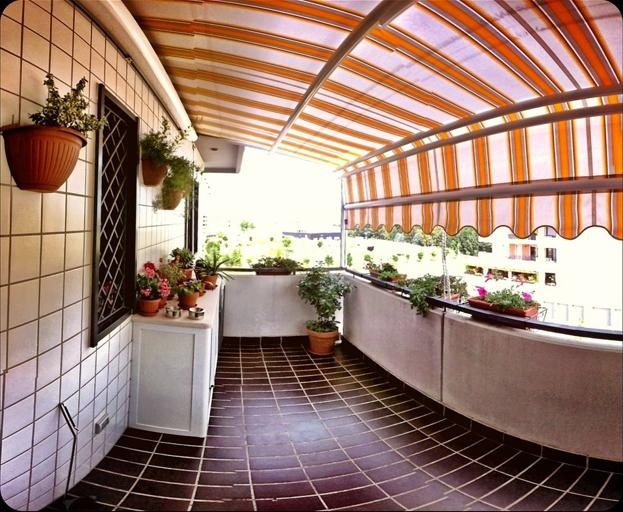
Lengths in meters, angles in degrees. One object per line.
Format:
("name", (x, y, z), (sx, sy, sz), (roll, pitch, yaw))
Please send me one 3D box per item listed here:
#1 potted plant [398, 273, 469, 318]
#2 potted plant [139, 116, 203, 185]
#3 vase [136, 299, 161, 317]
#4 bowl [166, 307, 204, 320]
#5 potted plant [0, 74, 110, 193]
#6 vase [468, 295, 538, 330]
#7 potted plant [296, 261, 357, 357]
("potted plant", (1.364, 0.370, 5.013), (0.536, 0.279, 0.498), (-13, 25, -7))
("potted plant", (-1.494, -1.107, 4.648), (0.520, 0.723, 1.143), (-1, 12, -14))
("vase", (-1.566, 0.489, 4.167), (0.201, 0.129, 0.188), (1, -2, -10))
("bowl", (-1.232, 0.551, 4.189), (0.334, 0.069, 0.149), (0, 0, -12))
("potted plant", (-1.675, -0.795, 2.781), (0.409, 0.780, 0.454), (2, 12, 0))
("vase", (1.966, 0.691, 4.457), (0.403, 0.202, 0.587), (-17, -9, -10))
("potted plant", (0.191, 0.854, 6.722), (0.663, 1.291, 0.738), (9, 13, 29))
